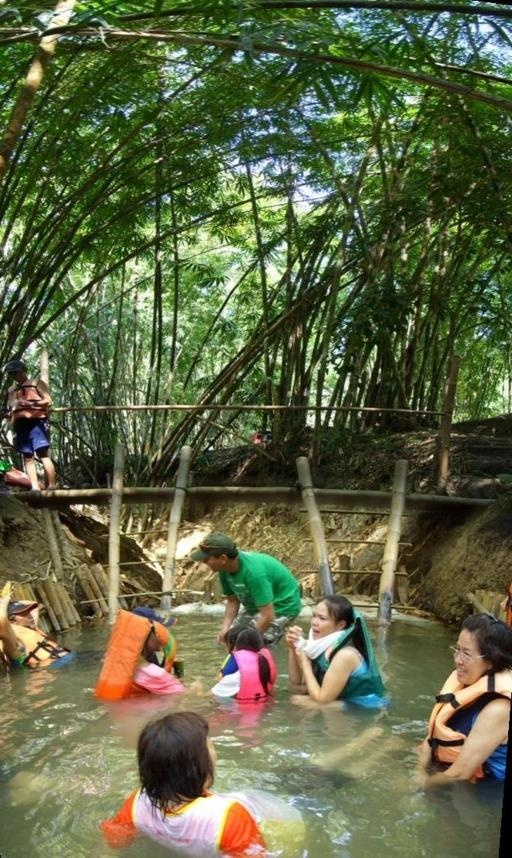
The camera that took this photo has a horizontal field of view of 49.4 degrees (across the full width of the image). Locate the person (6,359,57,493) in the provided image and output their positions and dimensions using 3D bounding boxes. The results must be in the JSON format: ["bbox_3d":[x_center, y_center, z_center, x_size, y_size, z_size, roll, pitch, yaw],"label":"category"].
[{"bbox_3d":[-2.512,-0.032,6.210,0.502,1.476,1.023,1,1,-20],"label":"person"}]

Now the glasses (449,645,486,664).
[{"bbox_3d":[0.733,0.777,1.911,0.105,0.035,0.077,29,-10,-23],"label":"glasses"}]

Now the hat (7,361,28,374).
[{"bbox_3d":[-2.510,-0.643,5.771,0.179,0.159,0.253,1,1,-24],"label":"hat"}]

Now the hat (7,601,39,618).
[{"bbox_3d":[-1.661,1.257,3.920,0.157,0.050,0.106,-3,-35,-45],"label":"hat"}]

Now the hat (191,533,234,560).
[{"bbox_3d":[-0.265,0.727,3.436,0.233,0.120,0.152,0,-7,-5],"label":"hat"}]

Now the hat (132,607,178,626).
[{"bbox_3d":[-0.588,1.121,3.300,0.263,0.083,0.161,25,-6,-23],"label":"hat"}]
